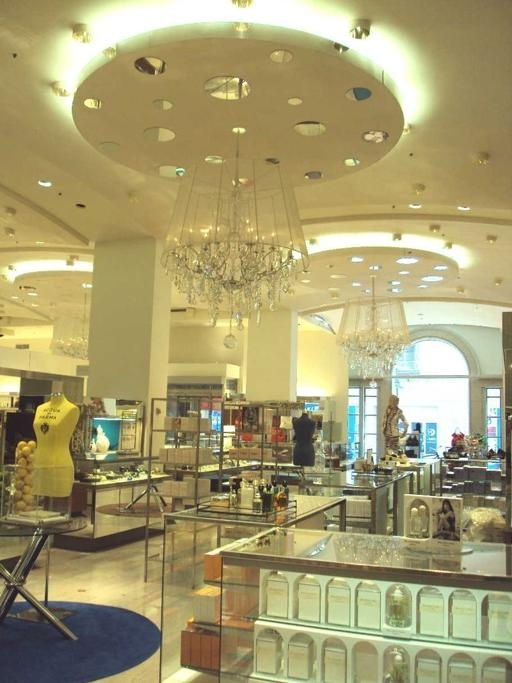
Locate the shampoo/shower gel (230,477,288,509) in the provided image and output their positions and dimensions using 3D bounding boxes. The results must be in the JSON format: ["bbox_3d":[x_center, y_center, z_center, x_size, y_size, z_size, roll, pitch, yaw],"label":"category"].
[{"bbox_3d":[0.037,1.067,3.877,0.345,0.214,0.237,-2,-6,18],"label":"shampoo/shower gel"}]

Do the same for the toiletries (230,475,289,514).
[{"bbox_3d":[0.037,1.062,3.865,0.333,0.234,0.240,-2,-5,18],"label":"toiletries"}]

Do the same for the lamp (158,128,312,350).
[{"bbox_3d":[-0.219,-0.850,5.098,1.279,1.648,0.939,0,-6,-7],"label":"lamp"}]

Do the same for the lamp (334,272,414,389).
[{"bbox_3d":[2.186,-0.120,10.656,1.271,1.297,1.369,-2,-8,3],"label":"lamp"}]
